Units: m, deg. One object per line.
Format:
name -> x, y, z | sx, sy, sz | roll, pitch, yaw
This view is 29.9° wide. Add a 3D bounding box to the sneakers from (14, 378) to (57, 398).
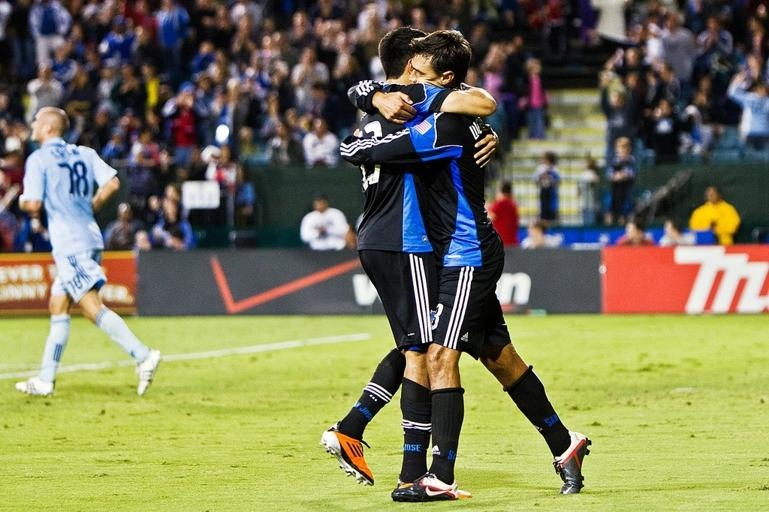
sneakers -> -4.383, 1.676, 18.394 | 0.558, 0.247, 0.212 | 8, 6, -4
